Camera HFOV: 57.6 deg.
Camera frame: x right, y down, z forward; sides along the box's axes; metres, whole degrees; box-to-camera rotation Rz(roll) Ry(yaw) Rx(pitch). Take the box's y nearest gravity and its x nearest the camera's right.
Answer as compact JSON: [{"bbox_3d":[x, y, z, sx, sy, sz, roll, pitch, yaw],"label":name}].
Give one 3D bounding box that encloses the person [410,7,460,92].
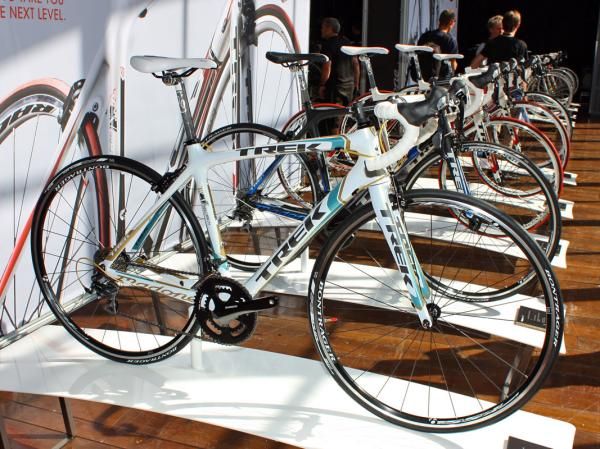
[{"bbox_3d":[1.801,-2.108,7.193,0.453,1.337,0.501,-28,47,-27],"label":"person"}]
